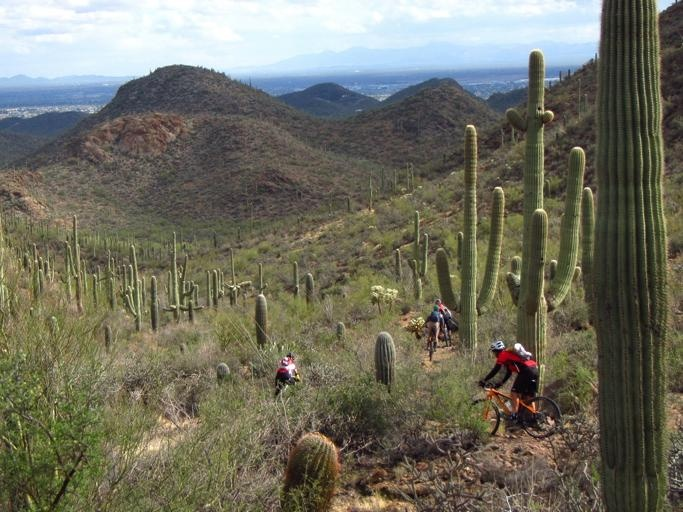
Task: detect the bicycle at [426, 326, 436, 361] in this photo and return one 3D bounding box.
[{"bbox_3d":[1.575,1.489,12.487,0.143,0.518,0.407,-2,9,14],"label":"bicycle"}]

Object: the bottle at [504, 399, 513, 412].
[{"bbox_3d":[2.111,1.889,9.186,0.073,0.095,0.338,17,10,2],"label":"bottle"}]

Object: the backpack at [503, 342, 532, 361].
[{"bbox_3d":[2.235,1.246,9.163,0.248,0.105,0.188,35,28,16],"label":"backpack"}]

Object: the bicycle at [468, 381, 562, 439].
[{"bbox_3d":[2.220,1.953,9.151,1.034,0.718,0.529,3,1,28],"label":"bicycle"}]

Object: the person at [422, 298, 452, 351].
[{"bbox_3d":[1.656,1.221,13.324,0.297,0.799,1.057,0,9,5],"label":"person"}]

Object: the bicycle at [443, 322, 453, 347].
[{"bbox_3d":[1.963,1.416,13.384,0.131,0.386,0.559,-3,9,8],"label":"bicycle"}]
